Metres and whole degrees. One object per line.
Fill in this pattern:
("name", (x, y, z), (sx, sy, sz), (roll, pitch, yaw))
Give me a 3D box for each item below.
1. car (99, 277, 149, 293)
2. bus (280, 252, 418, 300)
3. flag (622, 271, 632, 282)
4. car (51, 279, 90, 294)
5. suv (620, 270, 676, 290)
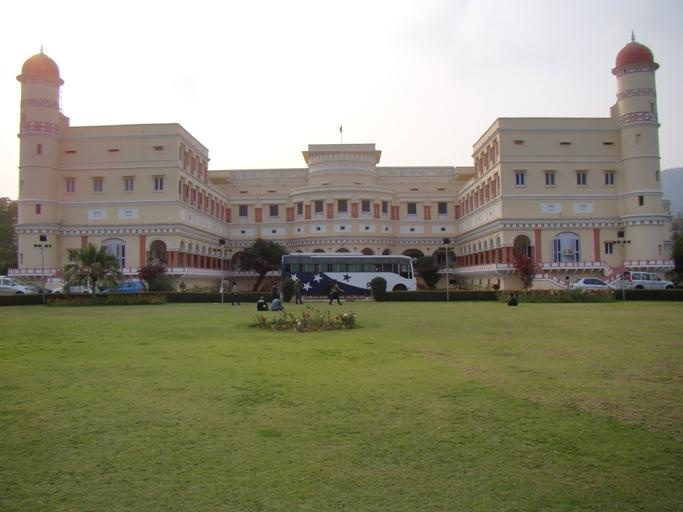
("car", (-13.370, 1.915, 43.864), (1.893, 0.881, 1.089), (4, -4, -9))
("bus", (1.051, 1.092, 47.140), (9.652, 2.854, 2.479), (0, 9, 26))
("flag", (19.301, 1.447, 46.887), (0.722, 0.506, 1.152), (-1, -2, 13))
("car", (-15.506, 1.787, 40.167), (1.746, 0.762, 1.010), (3, -1, -5))
("suv", (20.790, 1.659, 47.546), (2.943, 1.126, 1.337), (-1, -2, 7))
